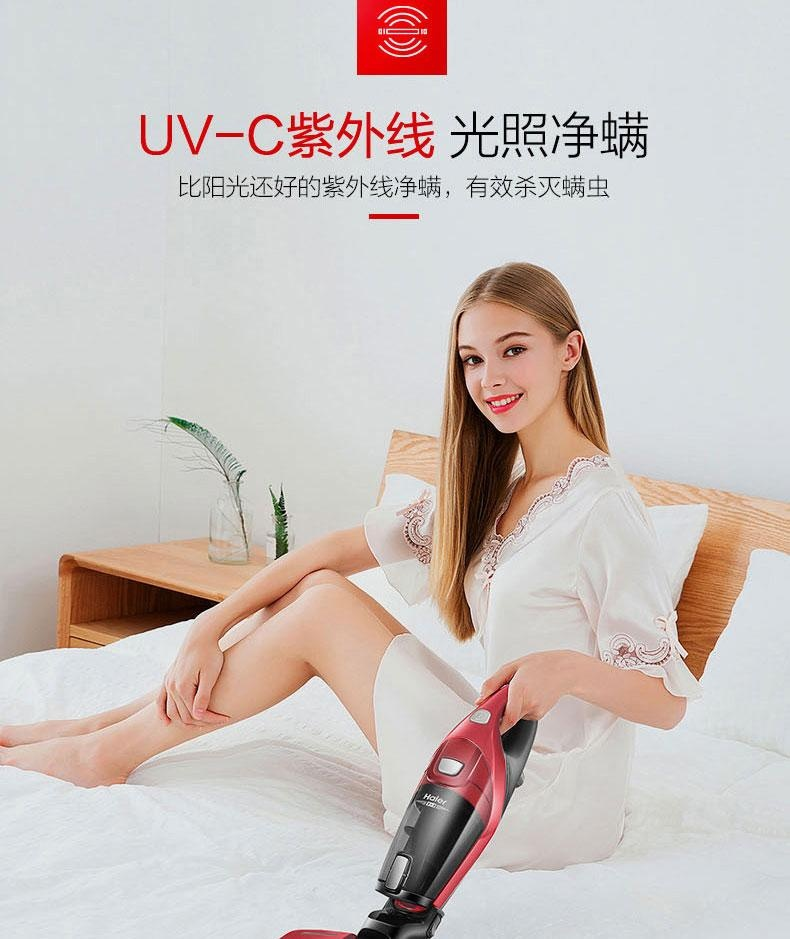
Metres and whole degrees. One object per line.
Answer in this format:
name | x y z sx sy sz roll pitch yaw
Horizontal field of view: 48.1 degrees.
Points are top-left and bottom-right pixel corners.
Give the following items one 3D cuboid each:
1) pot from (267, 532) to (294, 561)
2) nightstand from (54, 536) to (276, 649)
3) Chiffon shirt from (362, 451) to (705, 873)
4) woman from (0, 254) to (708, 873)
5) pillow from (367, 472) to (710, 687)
pot | -0.327 0.206 2.417 0.090 0.087 0.088 0 -3 0
nightstand | -0.661 0.346 2.452 0.373 0.435 0.517 -7 11 -36
Chiffon shirt | 0.206 0.237 1.387 0.547 0.605 0.633 9 -7 -8
woman | 0.086 0.081 1.425 1.187 0.821 0.700 0 7 1
pillow | 0.218 0.161 1.304 0.307 0.345 0.372 13 -8 -12
